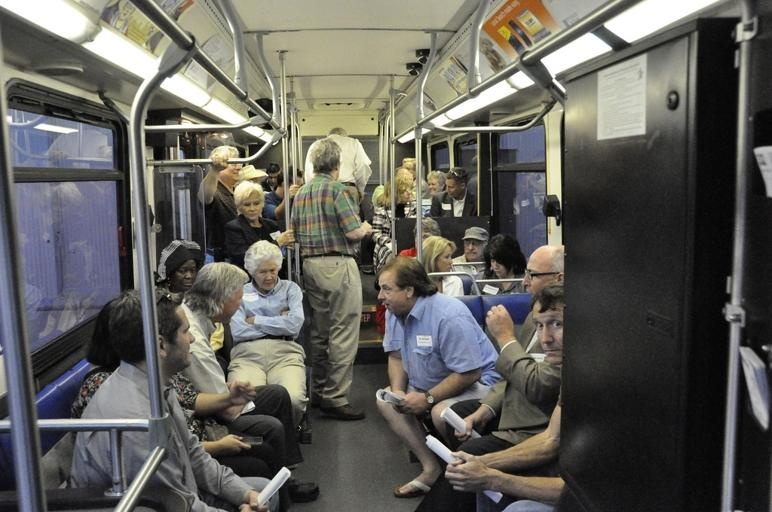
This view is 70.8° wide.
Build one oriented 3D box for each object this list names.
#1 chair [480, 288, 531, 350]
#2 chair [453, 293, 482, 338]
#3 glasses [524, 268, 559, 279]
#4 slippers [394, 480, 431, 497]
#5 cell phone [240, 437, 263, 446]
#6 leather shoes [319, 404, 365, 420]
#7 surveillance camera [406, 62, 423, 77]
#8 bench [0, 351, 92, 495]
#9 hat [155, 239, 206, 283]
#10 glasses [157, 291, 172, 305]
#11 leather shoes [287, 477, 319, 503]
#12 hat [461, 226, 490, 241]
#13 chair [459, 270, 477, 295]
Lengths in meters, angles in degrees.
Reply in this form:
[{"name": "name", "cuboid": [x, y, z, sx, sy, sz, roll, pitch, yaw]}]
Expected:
[{"name": "chair", "cuboid": [1.055, 0.541, 4.914, 0.457, 0.401, 0.329, -1, 11, -1]}, {"name": "chair", "cuboid": [0.722, 0.501, 4.784, 0.260, 0.310, 0.257, 0, 5, 1]}, {"name": "glasses", "cuboid": [1.044, 0.120, 3.701, 0.102, 0.057, 0.265, -5, 5, -37]}, {"name": "slippers", "cuboid": [0.203, 1.718, 4.039, 0.270, 0.113, 0.089, -1, 4, 3]}, {"name": "cell phone", "cuboid": [-0.839, 1.156, 3.401, 0.088, 0.019, 0.078, 3, 6, -3]}, {"name": "leather shoes", "cuboid": [-0.431, 1.553, 5.400, 0.394, 0.155, 0.173, -1, -1, 5]}, {"name": "surveillance camera", "cuboid": [0.360, -2.331, 6.744, 0.194, 0.075, 0.215, 0, -3, -5]}, {"name": "bench", "cuboid": [-1.883, 0.945, 3.060, 0.263, 0.381, 1.012, -3, 4, -21]}, {"name": "hat", "cuboid": [-1.699, 0.040, 4.467, 0.350, 0.333, 0.297, -3, 4, -22]}, {"name": "glasses", "cuboid": [-1.086, 0.209, 2.679, 0.053, 0.057, 0.066, -2, 5, 3]}, {"name": "leather shoes", "cuboid": [-0.606, 1.730, 3.999, 0.278, 0.101, 0.102, 0, 13, -5]}, {"name": "hat", "cuboid": [1.133, -0.289, 6.752, 0.269, 0.134, 0.382, -1, -3, 16]}, {"name": "chair", "cuboid": [0.844, 0.295, 5.565, 0.170, 0.225, 0.233, -2, 3, -45]}]
